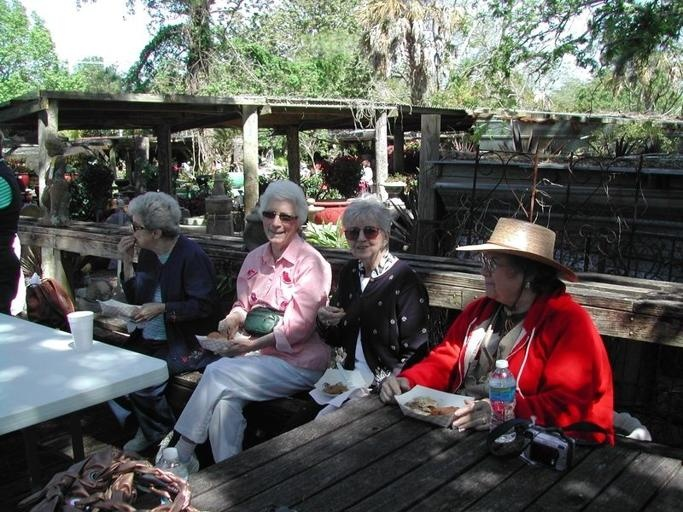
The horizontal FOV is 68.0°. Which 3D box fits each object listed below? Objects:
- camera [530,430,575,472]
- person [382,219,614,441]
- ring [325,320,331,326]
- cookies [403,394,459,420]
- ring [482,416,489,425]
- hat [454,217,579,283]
[{"bbox_3d":[0.823,0.748,1.998,0.152,0.152,0.137,10,10,32],"label":"camera"},{"bbox_3d":[0.826,0.383,2.647,1.014,1.034,1.238,1,0,-18],"label":"person"},{"bbox_3d":[-0.081,0.425,3.196,0.026,0.007,0.026,5,-32,3],"label":"ring"},{"bbox_3d":[0.412,0.708,2.362,0.144,0.041,0.094,8,15,38],"label":"cookies"},{"bbox_3d":[0.643,0.731,2.254,0.025,0.026,0.009,-6,-22,6],"label":"ring"},{"bbox_3d":[0.946,-0.059,2.693,0.614,0.228,0.677,15,6,-11],"label":"hat"}]
